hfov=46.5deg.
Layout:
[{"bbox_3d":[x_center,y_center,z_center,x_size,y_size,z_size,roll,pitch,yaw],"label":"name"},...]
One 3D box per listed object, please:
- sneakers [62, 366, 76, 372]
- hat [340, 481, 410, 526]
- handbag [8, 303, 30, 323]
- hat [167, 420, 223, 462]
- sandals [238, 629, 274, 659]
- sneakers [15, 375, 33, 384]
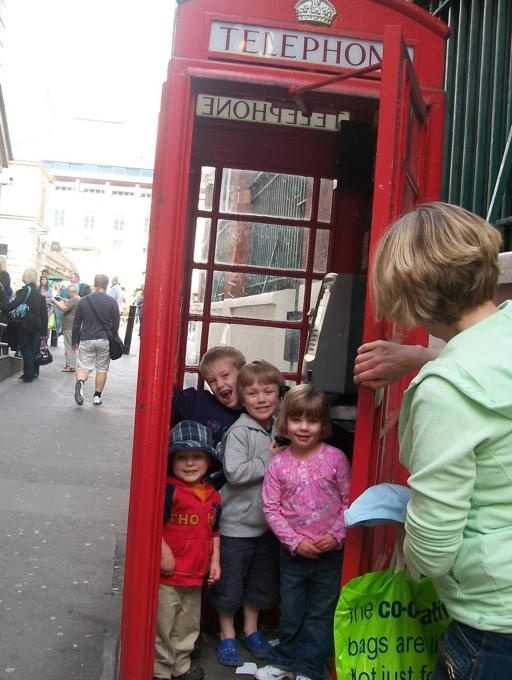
[{"bbox_3d":[-3.791,0.600,12.063,0.226,0.099,0.089,3,4,4],"label":"sneakers"},{"bbox_3d":[0.291,0.418,1.451,0.142,0.041,0.133,-10,20,18],"label":"hat"},{"bbox_3d":[-3.943,-0.451,9.933,0.287,0.181,0.350,7,39,27],"label":"handbag"},{"bbox_3d":[-0.242,0.386,2.305,0.145,0.101,0.191,3,-1,-34],"label":"hat"},{"bbox_3d":[0.012,1.288,2.524,0.075,0.061,0.147,-2,-1,-27],"label":"sandals"},{"bbox_3d":[-4.049,0.690,10.270,0.456,0.188,0.140,-3,-4,27],"label":"sneakers"}]
